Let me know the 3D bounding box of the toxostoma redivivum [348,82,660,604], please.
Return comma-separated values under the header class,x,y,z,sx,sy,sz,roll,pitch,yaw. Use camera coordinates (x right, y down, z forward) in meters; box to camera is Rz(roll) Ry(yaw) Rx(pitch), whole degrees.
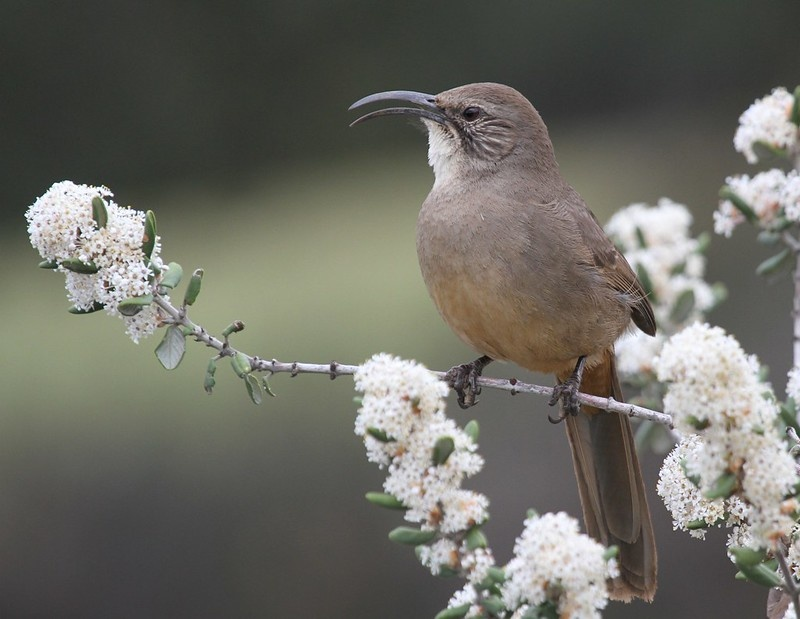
class,x,y,z,sx,sy,sz,roll,pitch,yaw
toxostoma redivivum,0.729,-0.129,5.753,1.097,3.353,1.776,-2,7,15
